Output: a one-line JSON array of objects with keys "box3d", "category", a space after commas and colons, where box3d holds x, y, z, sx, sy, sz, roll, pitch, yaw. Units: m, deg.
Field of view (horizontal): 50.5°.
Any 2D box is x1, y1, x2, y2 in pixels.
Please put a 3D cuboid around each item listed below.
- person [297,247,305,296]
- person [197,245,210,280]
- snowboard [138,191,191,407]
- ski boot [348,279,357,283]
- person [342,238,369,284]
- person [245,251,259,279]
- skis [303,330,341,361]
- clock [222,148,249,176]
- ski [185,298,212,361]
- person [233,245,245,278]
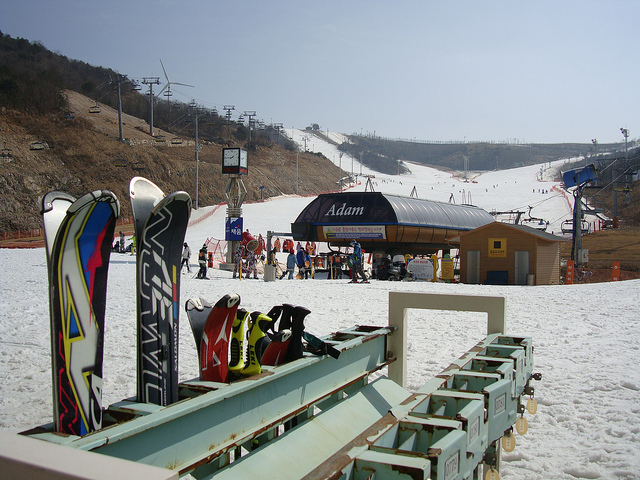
[{"box3d": [-0.715, 0.877, 25.413, 0.246, 1.149, 0.633, 1, 0, -2], "category": "person"}, {"box3d": [-3.853, 0.713, 22.451, 0.374, 1.086, 2.054, 1, 1, -10], "category": "person"}, {"box3d": [-1.260, 0.473, 5.475, 0.392, 1.663, 0.204, 1, 0, -25], "category": "snowboard"}, {"box3d": [1.070, 1.323, 22.130, 0.287, 0.099, 0.547, 1, 1, 2], "category": "ski boot"}, {"box3d": [1.244, 0.827, 22.721, 1.129, 2.077, 0.772, -1, -9, -1], "category": "person"}, {"box3d": [-2.454, 0.883, 24.559, 0.494, 0.962, 2.103, 1, 1, -5], "category": "person"}, {"box3d": [0.026, 0.937, 6.052, 0.295, 0.075, 0.231, 38, -1, 17], "category": "skis"}, {"box3d": [-3.653, -3.298, 28.566, 1.034, 1.574, 1.071, -2, 6, -30], "category": "clock"}, {"box3d": [-1.042, 0.741, 5.875, 0.193, 0.664, 0.083, -5, 33, -12], "category": "ski"}, {"box3d": [-2.926, 0.756, 24.218, 0.329, 1.111, 1.631, 1, 1, -7], "category": "person"}]
